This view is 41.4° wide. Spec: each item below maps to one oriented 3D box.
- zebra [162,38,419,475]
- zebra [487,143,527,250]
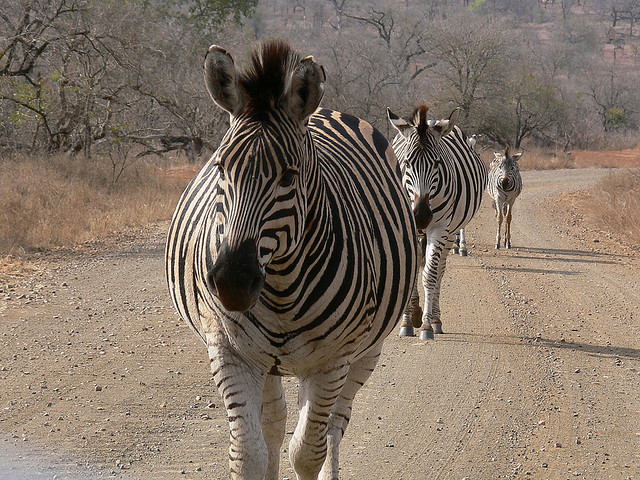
[{"bbox_3d":[-0.202,0.295,10.684,1.882,3.958,5.302,0,-5,5],"label":"zebra"},{"bbox_3d":[4.067,-0.945,18.501,0.632,2.154,2.814,2,7,13],"label":"zebra"}]
